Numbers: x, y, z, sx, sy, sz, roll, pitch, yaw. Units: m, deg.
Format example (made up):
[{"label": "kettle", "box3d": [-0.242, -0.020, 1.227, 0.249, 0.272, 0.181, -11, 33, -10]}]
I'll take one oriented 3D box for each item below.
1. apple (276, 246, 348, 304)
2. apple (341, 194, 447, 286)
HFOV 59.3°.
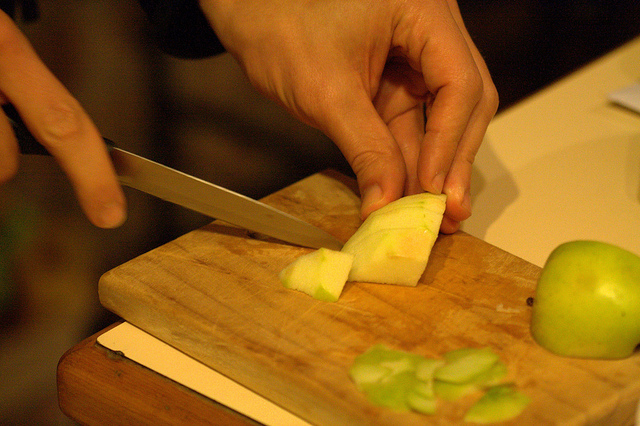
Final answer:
[{"label": "apple", "box3d": [-0.024, 0.179, 1.768, 0.189, 0.095, 0.159, 9, 29, 34]}, {"label": "apple", "box3d": [0.244, 0.086, 1.780, 0.300, 0.111, 0.288, -11, 48, 43]}]
